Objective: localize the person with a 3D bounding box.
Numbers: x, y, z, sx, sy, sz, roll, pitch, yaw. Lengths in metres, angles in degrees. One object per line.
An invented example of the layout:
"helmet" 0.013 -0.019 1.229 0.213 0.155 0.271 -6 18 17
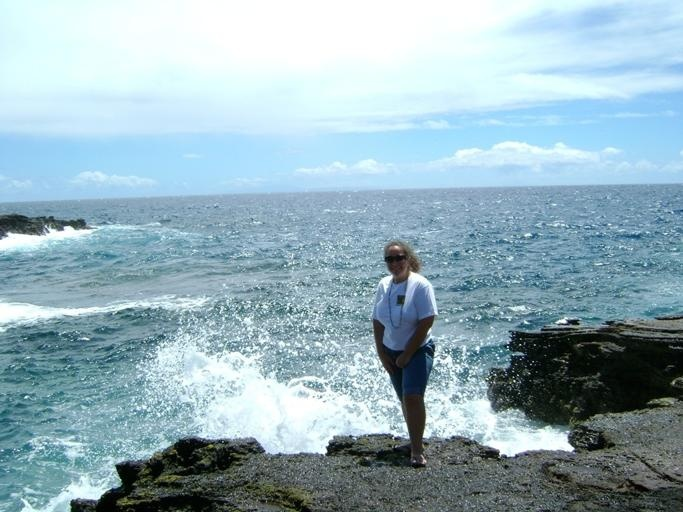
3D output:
"person" 1.021 1.462 8.466 0.836 3.355 1.143 -5 13 -11
